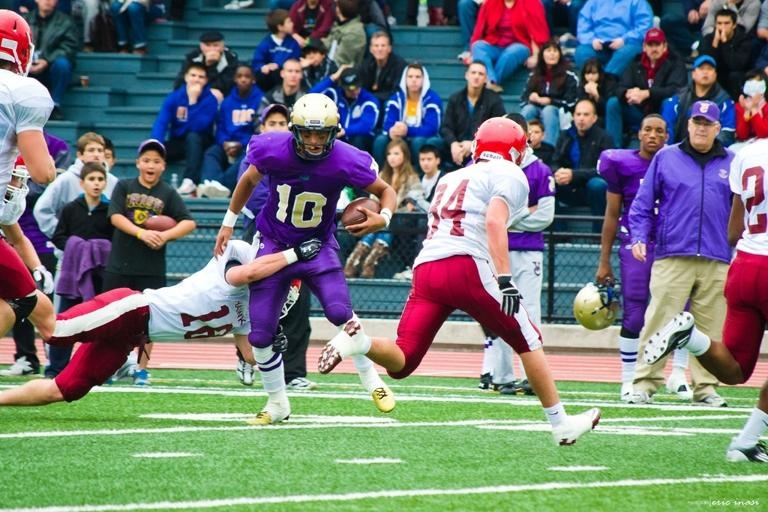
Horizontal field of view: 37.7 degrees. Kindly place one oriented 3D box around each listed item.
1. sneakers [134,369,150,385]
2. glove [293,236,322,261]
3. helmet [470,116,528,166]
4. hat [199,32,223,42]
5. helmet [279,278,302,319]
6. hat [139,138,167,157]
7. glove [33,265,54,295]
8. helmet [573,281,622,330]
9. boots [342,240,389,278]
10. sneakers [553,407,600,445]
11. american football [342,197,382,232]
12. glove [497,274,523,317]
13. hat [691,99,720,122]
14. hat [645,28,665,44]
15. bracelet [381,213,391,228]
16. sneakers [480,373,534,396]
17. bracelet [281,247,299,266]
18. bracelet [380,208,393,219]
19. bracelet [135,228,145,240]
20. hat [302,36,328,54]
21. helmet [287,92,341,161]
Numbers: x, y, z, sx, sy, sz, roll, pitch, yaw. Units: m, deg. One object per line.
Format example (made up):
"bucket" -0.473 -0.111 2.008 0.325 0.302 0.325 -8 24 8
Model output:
"sneakers" -2.179 1.084 10.163 0.131 0.138 0.140 3 -9 -24
"glove" -0.580 -0.057 8.595 0.213 0.123 0.075 -23 -10 -8
"helmet" 0.845 -0.857 8.289 0.308 0.345 0.392 10 17 2
"hat" -2.363 -3.025 15.433 0.286 0.176 0.222 0 6 -10
"helmet" -0.774 0.341 9.261 0.135 0.323 0.243 24 -6 -7
"hat" -2.104 -0.991 10.240 0.210 0.149 0.169 -1 6 -23
"glove" -2.777 0.188 9.162 0.104 0.259 0.148 -38 -24 27
"helmet" 1.861 0.404 9.911 0.337 0.351 0.440 17 36 18
"boots" -0.229 0.035 13.567 0.353 0.543 0.273 -1 11 3
"sneakers" 1.387 1.228 8.085 0.357 0.168 0.117 -32 28 -12
"american football" -0.187 -0.359 8.977 0.295 0.172 0.196 -20 -10 -19
"glove" 0.883 0.270 7.912 0.128 0.159 0.275 -15 22 2
"hat" 2.752 -1.225 9.564 0.202 0.149 0.281 21 -3 28
"hat" 3.415 -2.790 14.157 0.234 0.201 0.262 2 6 8
"bracelet" 0.023 -0.313 8.982 0.081 0.099 0.105 3 4 2
"sneakers" 1.118 1.144 10.210 0.516 0.230 0.198 1 0 7
"bracelet" -0.712 -0.006 8.577 0.108 0.104 0.036 -25 -6 -13
"bracelet" 0.023 -0.352 8.975 0.087 0.084 0.091 11 12 0
"bracelet" -2.202 -0.209 10.178 0.077 0.097 0.037 16 5 27
"hat" -0.929 -2.874 15.115 0.311 0.144 0.221 7 -1 -40
"helmet" -0.503 -0.960 8.559 0.408 0.408 0.478 2 40 -2
